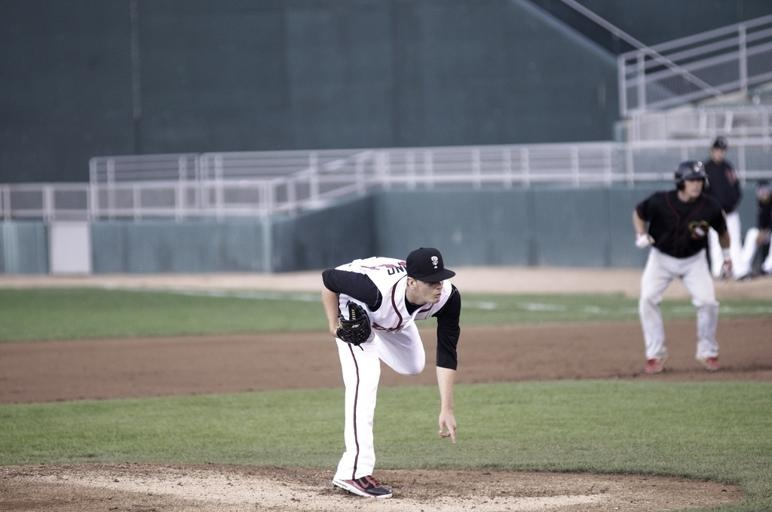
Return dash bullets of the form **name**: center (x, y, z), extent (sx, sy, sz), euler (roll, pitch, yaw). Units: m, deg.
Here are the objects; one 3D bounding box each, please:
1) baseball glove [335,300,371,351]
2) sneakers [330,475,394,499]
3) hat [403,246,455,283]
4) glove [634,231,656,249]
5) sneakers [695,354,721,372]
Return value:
- **baseball glove**: center (-0.340, 0.598, 17.632), extent (0.424, 0.291, 0.724), euler (-5, 37, 3)
- **sneakers**: center (-0.240, 2.347, 17.630), extent (0.612, 0.283, 0.241), euler (6, -3, 4)
- **hat**: center (0.494, 0.087, 17.533), extent (0.485, 0.367, 0.671), euler (-10, -11, -8)
- **glove**: center (3.001, -0.165, 19.891), extent (0.178, 0.116, 0.239), euler (-2, 4, -6)
- **sneakers**: center (3.787, 1.273, 20.175), extent (0.191, 0.114, 0.253), euler (3, -4, -22)
